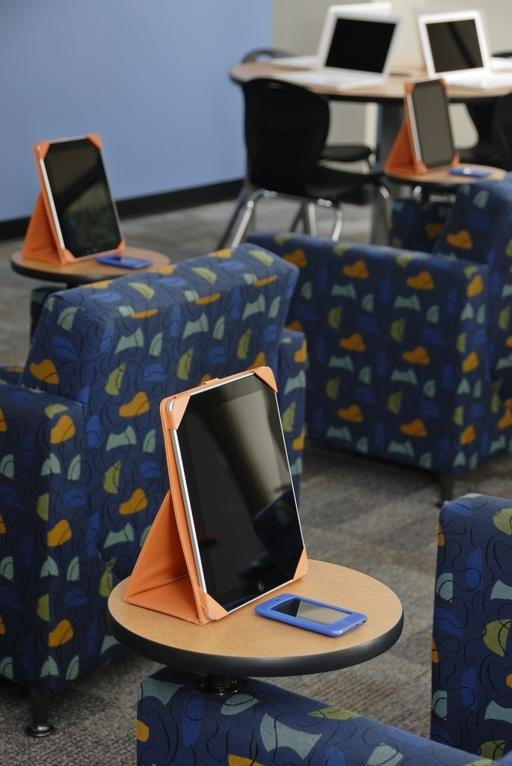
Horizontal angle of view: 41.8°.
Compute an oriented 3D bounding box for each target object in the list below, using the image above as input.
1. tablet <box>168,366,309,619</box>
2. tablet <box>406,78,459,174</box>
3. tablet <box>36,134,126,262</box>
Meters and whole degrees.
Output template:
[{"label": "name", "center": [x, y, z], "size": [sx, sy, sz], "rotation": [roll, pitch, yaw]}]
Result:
[{"label": "tablet", "center": [-0.007, 0.125, 0.816], "size": [0.095, 0.259, 0.255], "rotation": [2, 8, 20]}, {"label": "tablet", "center": [0.969, -1.433, 3.730], "size": [0.379, 0.484, 0.045], "rotation": [-27, 22, -36]}, {"label": "tablet", "center": [-0.659, -0.694, 2.534], "size": [0.034, 0.446, 0.392], "rotation": [-1, 22, 23]}]
